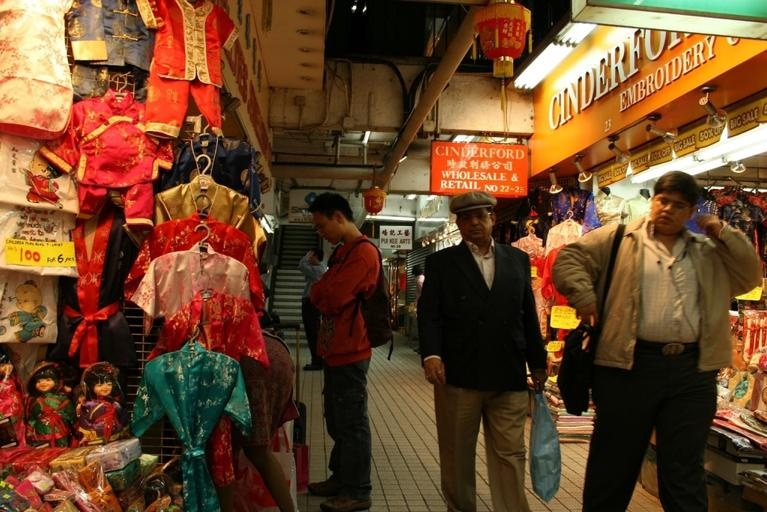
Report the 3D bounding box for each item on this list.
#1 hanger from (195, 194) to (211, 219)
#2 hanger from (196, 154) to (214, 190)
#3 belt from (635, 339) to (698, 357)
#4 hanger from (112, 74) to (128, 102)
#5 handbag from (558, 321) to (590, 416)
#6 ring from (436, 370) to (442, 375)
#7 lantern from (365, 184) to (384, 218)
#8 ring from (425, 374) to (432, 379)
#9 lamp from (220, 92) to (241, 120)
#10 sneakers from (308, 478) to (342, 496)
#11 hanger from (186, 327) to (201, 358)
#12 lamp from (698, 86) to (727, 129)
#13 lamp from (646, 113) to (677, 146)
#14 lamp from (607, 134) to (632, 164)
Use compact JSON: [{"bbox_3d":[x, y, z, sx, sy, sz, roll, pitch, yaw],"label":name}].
[{"bbox_3d":[-0.966,-0.266,3.181,0.082,0.139,0.037,0,-2,-15],"label":"hanger"},{"bbox_3d":[-0.974,-0.453,3.220,0.086,0.203,0.073,1,-2,-20],"label":"hanger"},{"bbox_3d":[1.578,0.507,3.296,0.330,0.079,0.043,0,-2,5],"label":"belt"},{"bbox_3d":[-1.473,-0.941,3.305,0.078,0.183,0.164,1,-2,-25],"label":"hanger"},{"bbox_3d":[1.137,0.677,3.559,0.161,0.448,0.347,4,1,40],"label":"handbag"},{"bbox_3d":[0.338,0.705,3.609,0.019,0.017,0.032,2,3,42],"label":"ring"},{"bbox_3d":[-0.078,-0.811,8.564,0.363,0.474,0.362,0,1,0],"label":"lantern"},{"bbox_3d":[0.274,0.737,3.641,0.026,0.036,0.032,-3,35,13],"label":"ring"},{"bbox_3d":[-1.093,-1.086,4.187,0.101,0.175,0.332,1,-2,-21],"label":"lamp"},{"bbox_3d":[-0.427,1.700,4.386,0.218,0.090,0.109,5,-1,-10],"label":"sneakers"},{"bbox_3d":[-0.964,0.434,3.038,0.036,0.135,0.044,7,-44,5],"label":"hanger"},{"bbox_3d":[2.822,-1.265,5.093,0.208,0.211,0.365,-20,-48,40],"label":"lamp"},{"bbox_3d":[2.649,-1.184,5.684,0.382,0.219,0.196,18,-31,-39],"label":"lamp"},{"bbox_3d":[2.469,-1.117,6.265,0.179,0.209,0.351,-3,-28,36],"label":"lamp"}]
